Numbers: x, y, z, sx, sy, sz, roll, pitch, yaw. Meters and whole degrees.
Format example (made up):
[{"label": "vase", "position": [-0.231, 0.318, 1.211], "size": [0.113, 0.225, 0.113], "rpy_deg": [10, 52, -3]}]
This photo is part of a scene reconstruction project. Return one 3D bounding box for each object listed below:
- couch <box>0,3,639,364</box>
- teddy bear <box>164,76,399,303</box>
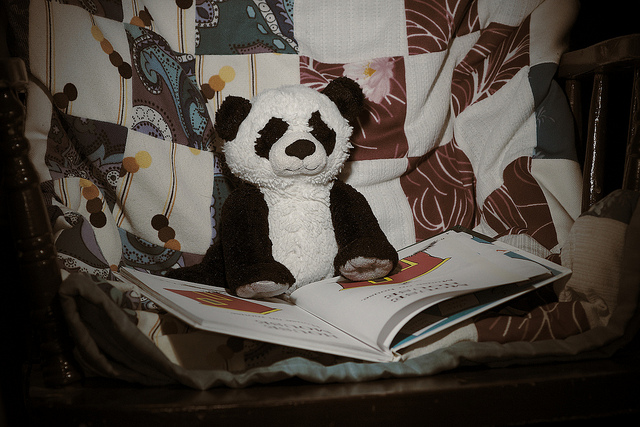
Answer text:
[{"label": "couch", "position": [0.019, 0.004, 1.891], "size": [1.404, 0.992, 0.342], "rpy_deg": [1, -13, -4]}, {"label": "teddy bear", "position": [-0.109, -0.062, 1.355], "size": [0.509, 0.516, 0.324], "rpy_deg": [-8, 7, -16]}]
